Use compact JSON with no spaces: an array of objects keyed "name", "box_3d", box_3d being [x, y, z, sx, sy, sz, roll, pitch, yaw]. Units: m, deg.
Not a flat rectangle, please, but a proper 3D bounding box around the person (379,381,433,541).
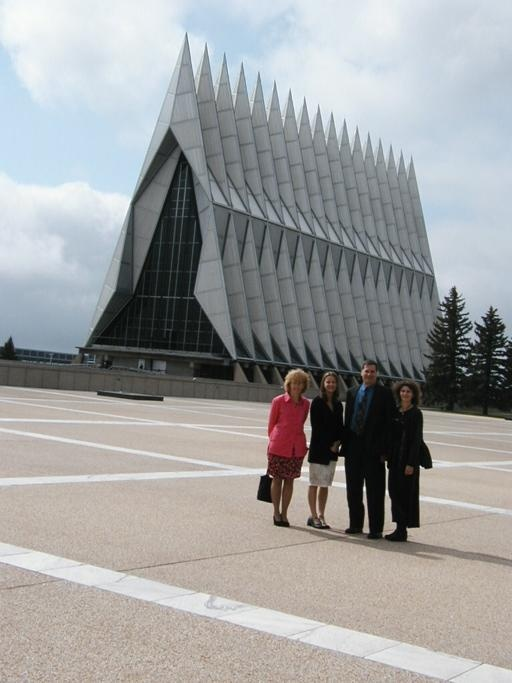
[{"name":"person","box_3d":[1.682,1.287,5.670,0.450,1.694,0.720,3,-5,16]}]
